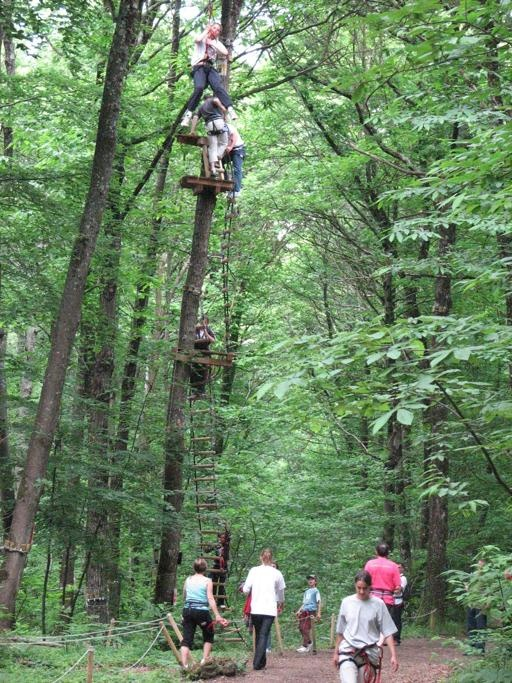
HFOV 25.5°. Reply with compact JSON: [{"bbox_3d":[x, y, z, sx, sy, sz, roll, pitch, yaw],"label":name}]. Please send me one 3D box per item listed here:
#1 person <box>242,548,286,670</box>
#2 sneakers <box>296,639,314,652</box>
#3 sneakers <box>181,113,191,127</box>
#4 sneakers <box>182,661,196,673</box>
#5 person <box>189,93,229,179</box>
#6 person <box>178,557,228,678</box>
[{"bbox_3d":[0.074,3.708,15.648,0.581,1.643,0.807,3,-16,1],"label":"person"},{"bbox_3d":[0.862,5.438,20.059,0.170,0.157,0.443,-10,-30,15],"label":"sneakers"},{"bbox_3d":[-1.155,-3.689,18.710,0.122,0.259,0.126,8,-6,-3],"label":"sneakers"},{"bbox_3d":[-0.892,4.342,15.035,0.191,0.108,0.492,3,-13,-3],"label":"sneakers"},{"bbox_3d":[-0.697,-3.399,18.630,0.489,1.274,0.746,-5,-18,29],"label":"person"},{"bbox_3d":[-0.731,3.714,15.495,0.605,1.473,1.373,4,-15,-2],"label":"person"}]
